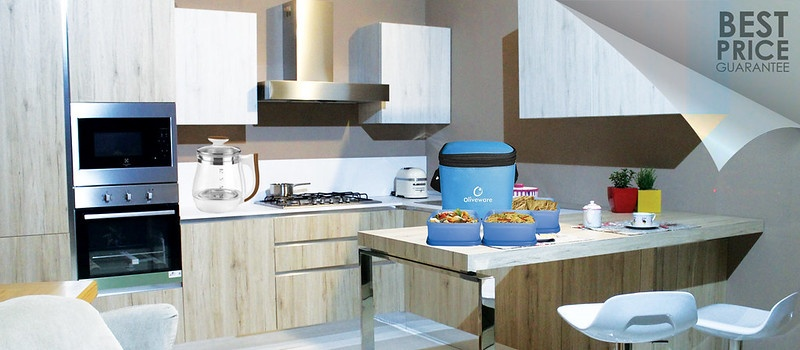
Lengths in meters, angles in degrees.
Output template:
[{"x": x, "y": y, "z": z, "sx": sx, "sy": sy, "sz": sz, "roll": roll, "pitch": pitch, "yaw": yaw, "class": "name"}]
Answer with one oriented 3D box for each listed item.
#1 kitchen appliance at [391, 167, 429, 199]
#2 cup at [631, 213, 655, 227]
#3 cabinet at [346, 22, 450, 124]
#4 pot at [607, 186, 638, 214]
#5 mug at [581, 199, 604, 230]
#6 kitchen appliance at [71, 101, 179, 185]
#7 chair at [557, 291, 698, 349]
[{"x": 0.073, "y": 0.117, "z": 7.233, "sx": 0.370, "sy": 0.320, "sz": 0.523, "roll": 0, "pitch": -1, "yaw": -26, "class": "kitchen appliance"}, {"x": 2.370, "y": 0.436, "z": 5.137, "sx": 0.167, "sy": 0.104, "sz": 0.181, "roll": 0, "pitch": -3, "yaw": 0, "class": "cup"}, {"x": 0.183, "y": -1.419, "z": 7.877, "sx": 1.658, "sy": 1.328, "sz": 1.533, "roll": 0, "pitch": 3, "yaw": -20, "class": "cabinet"}, {"x": 2.418, "y": 0.274, "z": 5.693, "sx": 0.363, "sy": 0.223, "sz": 0.258, "roll": 1, "pitch": -1, "yaw": -8, "class": "pot"}, {"x": 1.911, "y": 0.387, "z": 5.218, "sx": 0.167, "sy": 0.250, "sz": 0.292, "roll": -1, "pitch": 6, "yaw": 21, "class": "mug"}, {"x": -3.213, "y": -0.379, "z": 6.017, "sx": 1.300, "sy": 0.857, "sz": 0.592, "roll": 0, "pitch": 0, "yaw": -26, "class": "kitchen appliance"}, {"x": 2.022, "y": 1.197, "z": 4.821, "sx": 0.950, "sy": 0.678, "sz": 0.702, "roll": -2, "pitch": 12, "yaw": -6, "class": "chair"}]
